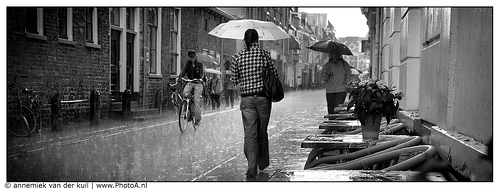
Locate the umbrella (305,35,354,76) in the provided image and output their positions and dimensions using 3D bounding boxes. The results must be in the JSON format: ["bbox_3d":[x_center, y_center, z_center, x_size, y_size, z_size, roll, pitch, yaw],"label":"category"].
[{"bbox_3d":[3.197,-1.498,14.618,2.147,1.553,1.770,14,-10,9],"label":"umbrella"}]

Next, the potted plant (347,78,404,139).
[{"bbox_3d":[3.309,0.353,9.474,1.640,1.410,1.599,3,-7,-8],"label":"potted plant"}]

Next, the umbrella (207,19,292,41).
[{"bbox_3d":[-0.003,-2.800,15.161,2.916,0.910,1.319,-1,6,-22],"label":"umbrella"}]

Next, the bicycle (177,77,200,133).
[{"bbox_3d":[-2.762,0.449,15.474,0.707,2.379,1.085,4,7,23],"label":"bicycle"}]
